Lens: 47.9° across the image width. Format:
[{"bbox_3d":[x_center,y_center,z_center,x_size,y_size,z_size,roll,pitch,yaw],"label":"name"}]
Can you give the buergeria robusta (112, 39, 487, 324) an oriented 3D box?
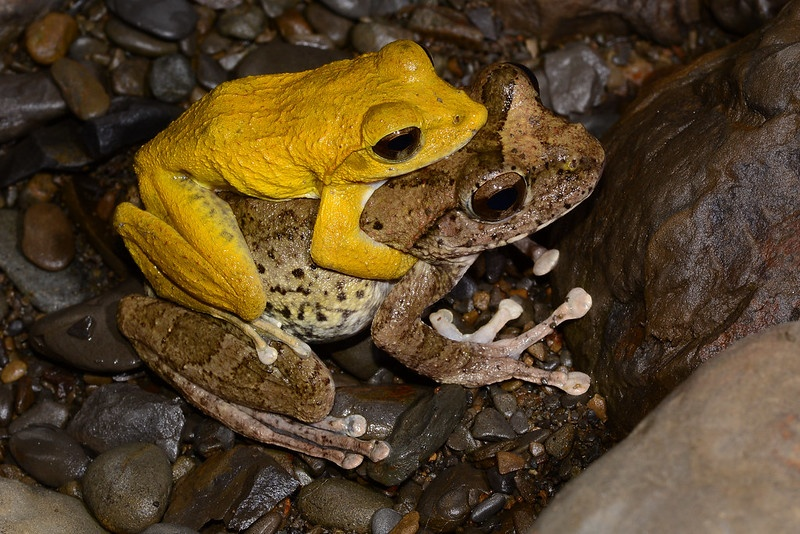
[{"bbox_3d":[-0.712,-0.621,6.092,2.331,1.456,1.074,-15,44,-9],"label":"buergeria robusta"}]
